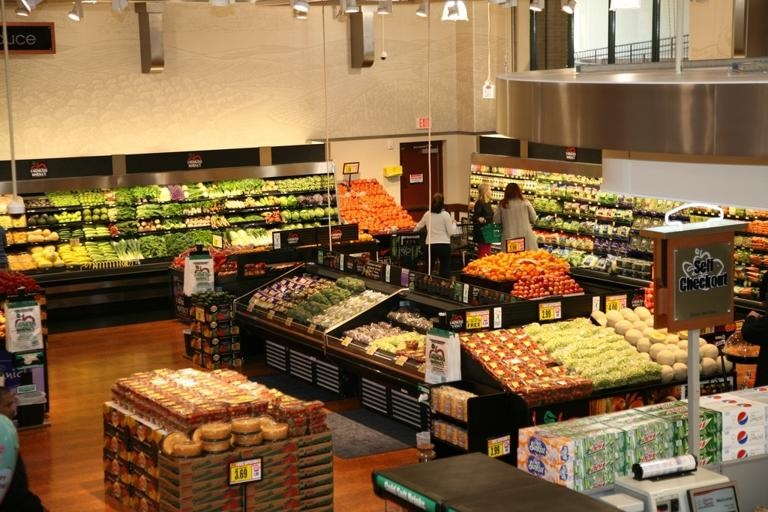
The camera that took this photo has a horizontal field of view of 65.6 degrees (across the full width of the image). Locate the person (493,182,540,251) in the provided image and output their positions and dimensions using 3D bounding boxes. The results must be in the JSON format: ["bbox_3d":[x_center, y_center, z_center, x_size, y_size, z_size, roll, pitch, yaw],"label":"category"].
[{"bbox_3d":[2.519,-0.431,11.353,0.848,1.848,0.658,-4,13,6],"label":"person"}]

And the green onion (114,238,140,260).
[{"bbox_3d":[-5.352,-0.142,12.349,0.476,0.447,0.200,-7,-11,-10],"label":"green onion"}]

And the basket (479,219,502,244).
[{"bbox_3d":[1.996,-0.468,11.488,0.357,0.405,0.606,-11,15,-34],"label":"basket"}]

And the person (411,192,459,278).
[{"bbox_3d":[1.005,-0.426,11.697,0.678,1.734,0.835,0,2,-5],"label":"person"}]

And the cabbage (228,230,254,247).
[{"bbox_3d":[-3.178,-0.396,12.997,0.323,0.159,0.565,0,27,-17],"label":"cabbage"}]

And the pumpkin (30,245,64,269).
[{"bbox_3d":[-6.688,-0.007,11.719,0.434,0.219,0.583,-1,14,-36],"label":"pumpkin"}]
